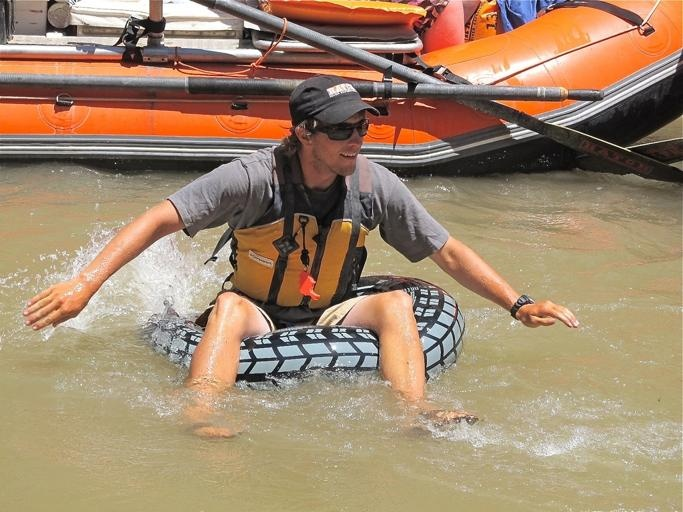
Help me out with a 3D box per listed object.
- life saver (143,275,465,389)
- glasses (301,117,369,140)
[{"bbox_3d":[-0.124,0.375,5.298,1.690,0.315,1.516,-12,16,-21],"label":"life saver"},{"bbox_3d":[-0.034,-0.655,4.551,0.336,0.108,0.135,4,19,-4],"label":"glasses"}]
